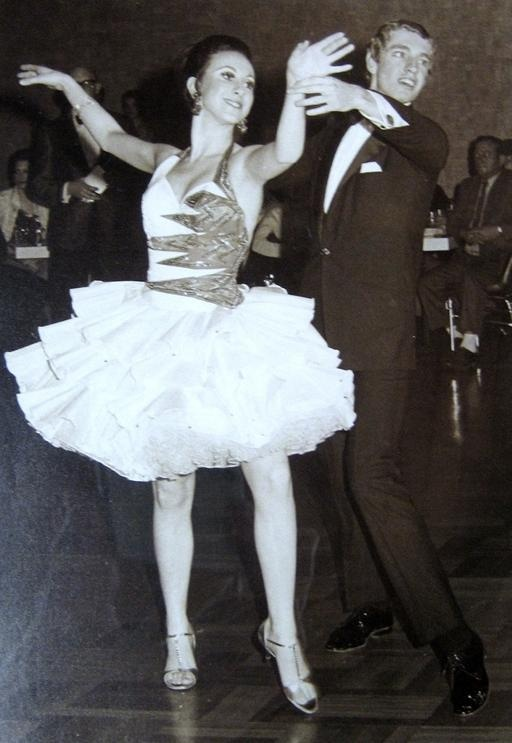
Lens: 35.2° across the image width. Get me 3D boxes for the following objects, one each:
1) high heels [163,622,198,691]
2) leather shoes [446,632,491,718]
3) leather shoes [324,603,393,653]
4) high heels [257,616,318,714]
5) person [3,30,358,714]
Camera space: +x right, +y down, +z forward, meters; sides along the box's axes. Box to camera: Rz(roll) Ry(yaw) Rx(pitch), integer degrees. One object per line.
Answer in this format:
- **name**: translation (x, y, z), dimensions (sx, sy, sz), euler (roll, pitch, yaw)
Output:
- **high heels**: translation (-0.145, 0.541, 1.540), dimensions (0.058, 0.118, 0.056), euler (-4, -17, 5)
- **leather shoes**: translation (0.384, 0.558, 1.483), dimensions (0.076, 0.059, 0.188), euler (-15, 4, 10)
- **leather shoes**: translation (0.224, 0.523, 1.677), dimensions (0.158, 0.049, 0.060), euler (-15, 27, -22)
- **high heels**: translation (0.055, 0.538, 1.507), dimensions (0.067, 0.178, 0.078), euler (-24, -15, -26)
- **person**: translation (-0.154, -0.019, 1.500), dimensions (0.615, 1.134, 0.786), euler (-6, 27, -12)
